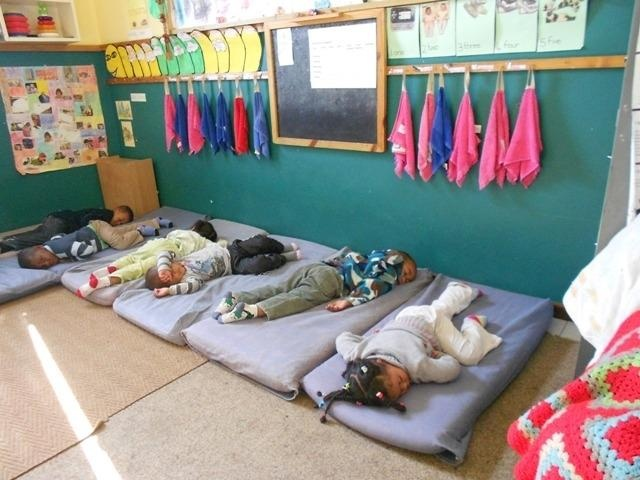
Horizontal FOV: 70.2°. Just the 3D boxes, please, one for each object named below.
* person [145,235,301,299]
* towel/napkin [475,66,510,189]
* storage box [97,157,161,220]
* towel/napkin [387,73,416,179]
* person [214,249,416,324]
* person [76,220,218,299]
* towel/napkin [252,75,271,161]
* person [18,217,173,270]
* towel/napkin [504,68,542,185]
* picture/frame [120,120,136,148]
[{"bbox_3d":[-0.712,0.179,3.181,0.777,0.208,0.471,-12,23,-35],"label":"person"},{"bbox_3d":[1.049,-0.660,2.651,0.091,0.573,0.135,-20,20,-26],"label":"towel/napkin"},{"bbox_3d":[-1.868,-0.498,4.482,0.573,0.572,0.205,13,28,31],"label":"storage box"},{"bbox_3d":[0.534,-0.719,2.956,0.208,0.658,0.157,5,23,23],"label":"towel/napkin"},{"bbox_3d":[-0.014,0.290,2.805,1.073,0.312,0.512,-5,12,-32],"label":"person"},{"bbox_3d":[-1.230,0.123,3.312,0.436,0.195,0.800,21,36,31],"label":"person"},{"bbox_3d":[-0.477,-0.944,3.613,0.160,0.620,0.097,15,28,40],"label":"towel/napkin"},{"bbox_3d":[-1.807,-0.031,3.734,1.129,0.283,0.378,-20,8,-42],"label":"person"},{"bbox_3d":[1.175,-0.611,2.592,0.198,0.653,0.143,6,23,24],"label":"towel/napkin"},{"bbox_3d":[-1.961,-1.090,4.655,0.219,0.305,0.013,19,35,27],"label":"picture/frame"}]
